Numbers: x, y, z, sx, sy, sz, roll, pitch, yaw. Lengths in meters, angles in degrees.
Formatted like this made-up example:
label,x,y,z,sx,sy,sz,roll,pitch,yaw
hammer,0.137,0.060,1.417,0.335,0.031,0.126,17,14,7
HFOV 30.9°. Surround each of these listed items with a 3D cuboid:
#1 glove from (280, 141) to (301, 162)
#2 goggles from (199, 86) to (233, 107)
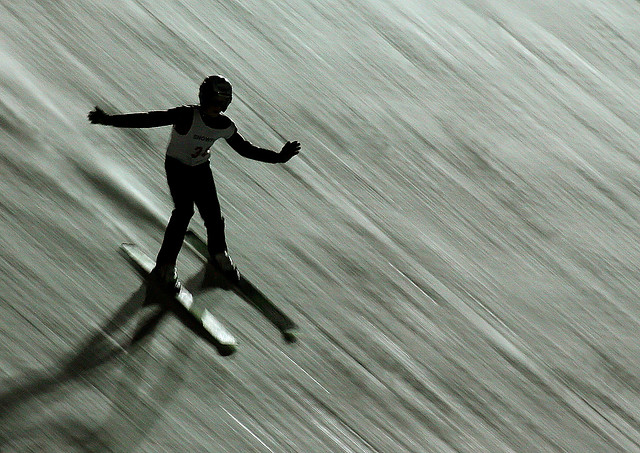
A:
label,x,y,z,sx,sy,sz,roll,pitch,yaw
glove,-0.316,-0.781,11.754,0.139,0.222,0.202,33,-10,-3
goggles,-1.031,-1.284,11.355,0.196,0.143,0.241,10,38,-50
